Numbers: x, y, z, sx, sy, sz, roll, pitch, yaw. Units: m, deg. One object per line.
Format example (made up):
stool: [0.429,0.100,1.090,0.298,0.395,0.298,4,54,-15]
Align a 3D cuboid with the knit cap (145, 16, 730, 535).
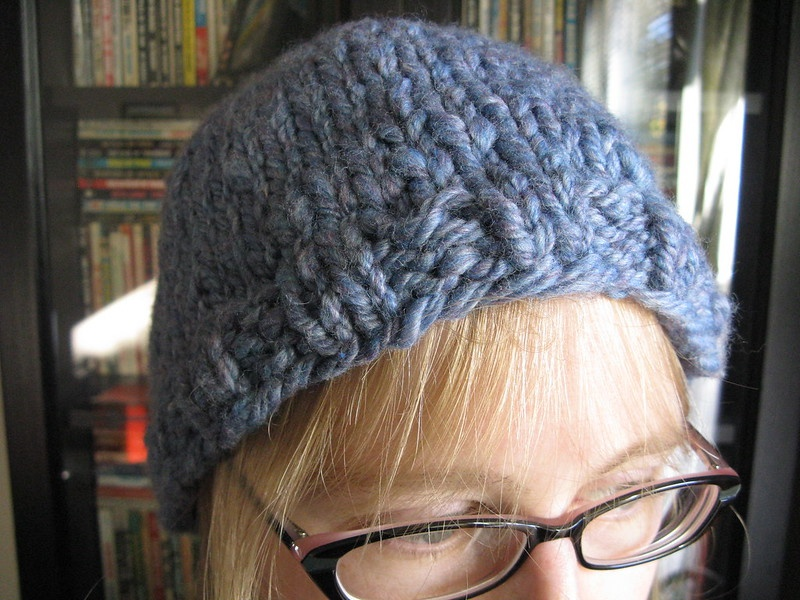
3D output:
knit cap: [-0.003,-0.084,1.950,0.978,0.756,0.972,-5,7,23]
